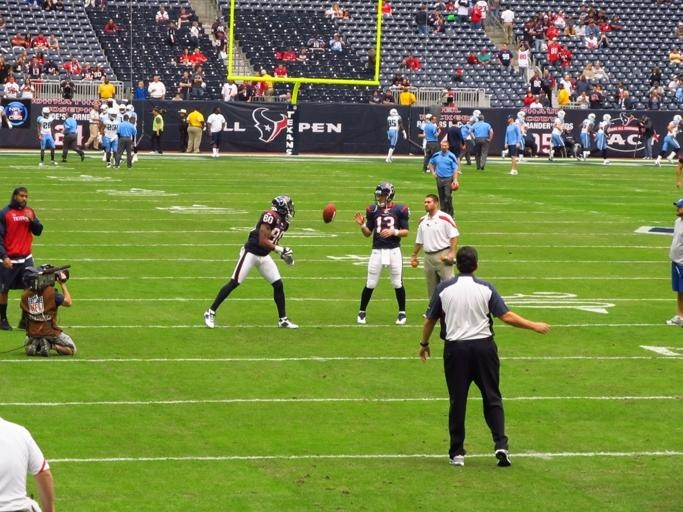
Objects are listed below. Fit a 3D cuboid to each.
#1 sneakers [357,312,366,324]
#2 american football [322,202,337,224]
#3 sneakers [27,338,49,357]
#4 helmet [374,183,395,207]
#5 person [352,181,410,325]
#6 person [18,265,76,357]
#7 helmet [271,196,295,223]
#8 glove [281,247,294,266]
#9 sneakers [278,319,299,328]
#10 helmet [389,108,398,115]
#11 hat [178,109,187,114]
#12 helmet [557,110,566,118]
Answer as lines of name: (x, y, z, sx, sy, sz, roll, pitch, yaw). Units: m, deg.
sneakers: (0.377, 1.098, 26.372, 0.219, 0.229, 0.561, 4, -1, 1)
american football: (-0.208, -0.773, 26.226, 0.197, 0.302, 0.421, 0, 6, -6)
sneakers: (-4.942, 1.476, 24.062, 0.249, 0.168, 0.381, 1, -1, -17)
helmet: (0.780, -1.105, 25.983, 0.300, 0.396, 0.327, 1, 6, -4)
person: (0.753, -0.073, 26.388, 0.921, 2.531, 1.446, 1, 6, 2)
person: (-4.742, 0.881, 23.993, 0.909, 1.508, 0.757, -3, 7, -32)
helmet: (-1.007, -0.832, 25.574, 0.360, 0.434, 0.641, 1, 6, -3)
glove: (-0.926, 0.004, 25.244, 0.173, 0.294, 0.442, 1, 6, -2)
sneakers: (-0.890, 1.173, 25.881, 0.392, 0.151, 0.143, 6, 15, 5)
helmet: (2.010, -5.501, 55.781, 0.269, 0.274, 0.285, -4, -20, -3)
hat: (-5.912, -5.462, 55.108, 0.324, 0.199, 0.229, 0, 6, -7)
helmet: (8.569, -5.541, 57.384, 0.306, 0.355, 0.359, 1, 6, 45)
